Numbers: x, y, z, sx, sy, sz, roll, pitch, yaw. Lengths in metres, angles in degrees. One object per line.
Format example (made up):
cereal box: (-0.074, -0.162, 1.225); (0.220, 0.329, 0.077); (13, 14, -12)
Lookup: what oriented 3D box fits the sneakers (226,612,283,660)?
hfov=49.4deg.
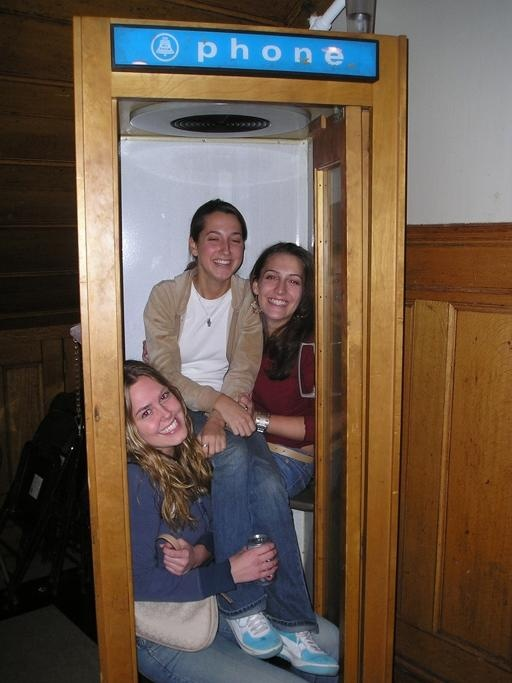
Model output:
sneakers: (-0.004, 0.721, 1.386); (0.063, 0.078, 0.181); (3, -11, -23)

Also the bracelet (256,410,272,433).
bracelet: (0.015, 0.218, 1.476); (0.034, 0.056, 0.049); (2, 5, -7)

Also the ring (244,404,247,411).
ring: (-0.027, 0.171, 1.434); (0.003, 0.011, 0.010); (-3, -2, 41)

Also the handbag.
handbag: (-0.185, 0.665, 1.301); (0.157, 0.147, 0.055); (5, -6, -17)

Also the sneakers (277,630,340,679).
sneakers: (0.123, 0.780, 1.421); (0.074, 0.085, 0.199); (33, -29, -29)

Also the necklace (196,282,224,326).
necklace: (-0.117, -0.098, 1.376); (0.066, 0.102, 0.023); (0, 6, -20)
